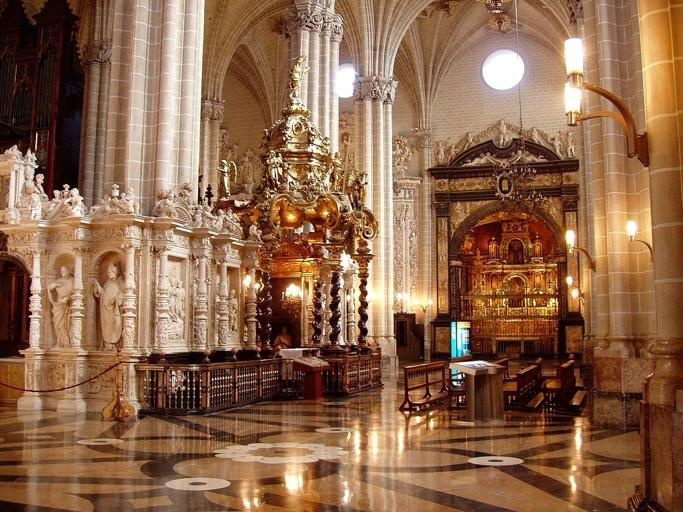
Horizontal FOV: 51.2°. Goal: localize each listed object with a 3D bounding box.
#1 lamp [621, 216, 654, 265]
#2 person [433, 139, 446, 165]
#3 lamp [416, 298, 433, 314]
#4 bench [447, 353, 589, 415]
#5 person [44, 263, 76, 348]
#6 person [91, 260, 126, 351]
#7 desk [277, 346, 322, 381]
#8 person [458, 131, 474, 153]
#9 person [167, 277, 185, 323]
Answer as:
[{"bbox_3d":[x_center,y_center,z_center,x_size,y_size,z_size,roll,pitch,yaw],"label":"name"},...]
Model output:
[{"bbox_3d":[5.284,-0.301,12.734,0.269,0.773,0.441,6,-10,-40],"label":"lamp"},{"bbox_3d":[4.841,-5.080,35.177,0.639,1.284,0.409,-2,-7,7],"label":"person"},{"bbox_3d":[3.978,2.360,34.322,0.641,0.726,0.645,1,-8,3],"label":"lamp"},{"bbox_3d":[4.648,2.880,16.271,1.763,0.946,4.693,-3,-7,18],"label":"bench"},{"bbox_3d":[-5.557,1.016,14.315,0.749,1.607,0.282,-7,-10,41],"label":"person"},{"bbox_3d":[-4.567,0.943,14.151,0.757,1.741,0.240,-4,-8,25],"label":"person"},{"bbox_3d":[-1.263,2.652,17.611,0.581,0.788,1.107,-1,-5,12],"label":"desk"},{"bbox_3d":[6.043,-5.535,34.812,0.692,1.037,0.352,-2,-7,9],"label":"person"},{"bbox_3d":[-3.386,0.908,14.785,0.152,0.908,0.578,-3,-8,14],"label":"person"}]
